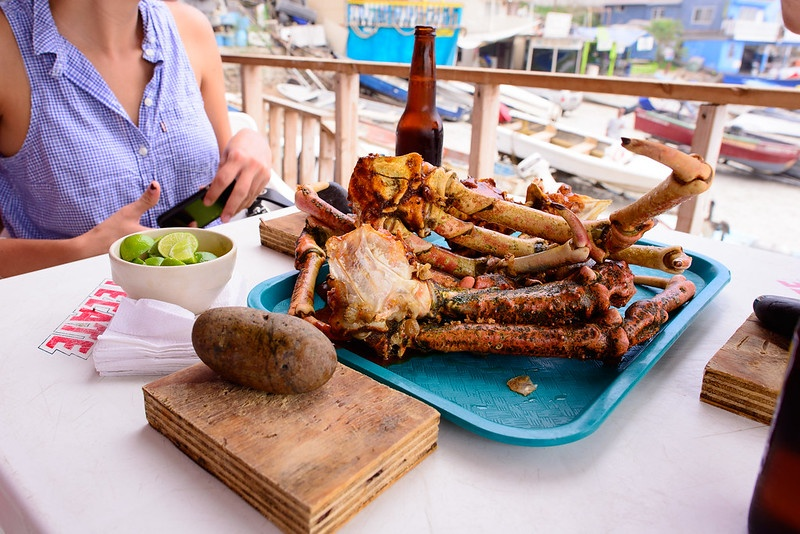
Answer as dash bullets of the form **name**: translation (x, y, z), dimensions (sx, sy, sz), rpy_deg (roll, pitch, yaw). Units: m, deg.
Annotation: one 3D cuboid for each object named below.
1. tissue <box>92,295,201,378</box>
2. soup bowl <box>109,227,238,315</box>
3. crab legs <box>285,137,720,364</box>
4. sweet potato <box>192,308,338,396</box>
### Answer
- **tissue**: translation (-0.375, 0.106, 0.850), dimensions (0.135, 0.046, 0.127), rpy_deg (2, 31, -5)
- **soup bowl**: translation (-0.361, 0.032, 0.930), dimensions (0.173, 0.095, 0.166), rpy_deg (2, 22, -1)
- **crab legs**: translation (0.131, -0.008, 0.873), dimensions (0.506, 0.192, 0.403), rpy_deg (2, 22, -3)
- **sweet potato**: translation (-0.182, 0.112, 0.797), dimensions (0.193, 0.094, 0.099), rpy_deg (12, 73, 19)
